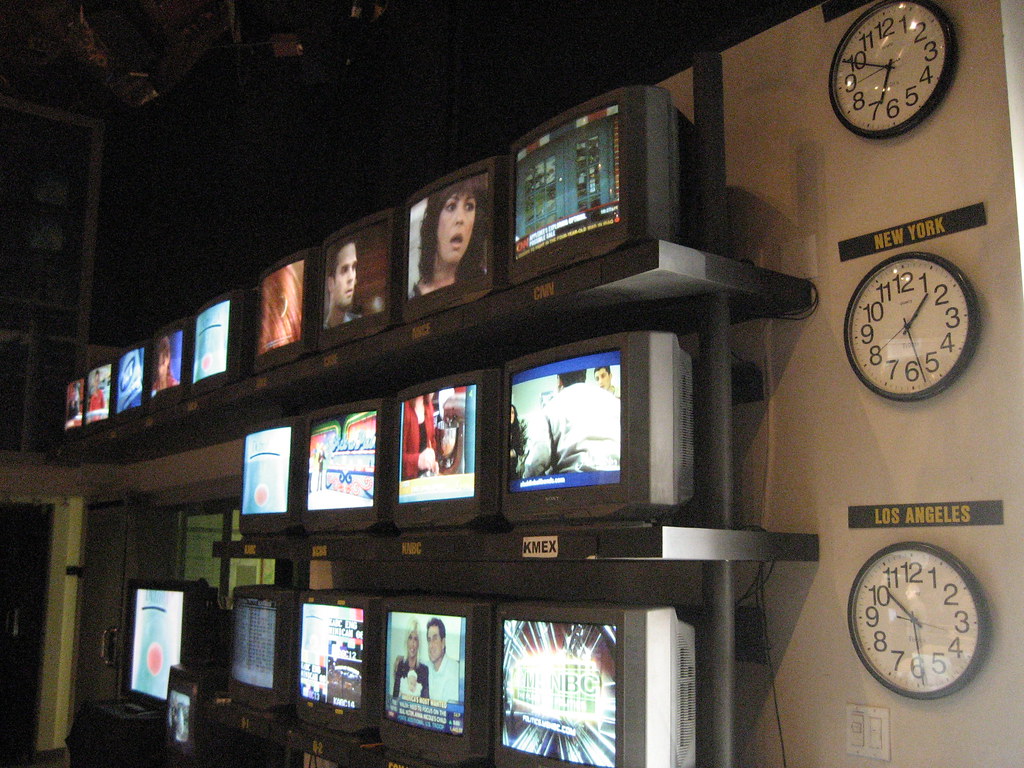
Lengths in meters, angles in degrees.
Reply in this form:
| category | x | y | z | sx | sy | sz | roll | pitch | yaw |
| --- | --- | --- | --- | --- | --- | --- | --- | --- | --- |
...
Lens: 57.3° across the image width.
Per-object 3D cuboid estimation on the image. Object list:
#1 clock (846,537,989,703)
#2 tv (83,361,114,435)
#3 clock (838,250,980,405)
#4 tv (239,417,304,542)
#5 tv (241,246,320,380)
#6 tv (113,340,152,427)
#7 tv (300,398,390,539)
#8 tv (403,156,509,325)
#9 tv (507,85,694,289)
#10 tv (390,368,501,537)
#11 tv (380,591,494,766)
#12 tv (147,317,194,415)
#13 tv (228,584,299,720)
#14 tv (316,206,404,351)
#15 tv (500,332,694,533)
| category | x | y | z | sx | sy | sz | roll | pitch | yaw |
| --- | --- | --- | --- | --- | --- | --- | --- | --- | --- |
| clock | 1.258 | 0.728 | 2.885 | 0.062 | 0.520 | 0.411 | 12 | -21 | -39 |
| tv | -2.576 | 0.105 | 5.896 | 0.037 | 0.390 | 0.371 | 9 | -16 | -39 |
| clock | 1.274 | -0.174 | 2.982 | 0.065 | 0.543 | 0.427 | 5 | -7 | -38 |
| tv | -1.030 | 0.415 | 4.284 | 0.235 | 0.473 | 0.430 | 10 | -15 | -43 |
| tv | -0.952 | -0.317 | 4.256 | 0.426 | 0.467 | 0.245 | -12 | -16 | 44 |
| tv | -2.140 | 0.003 | 5.522 | 0.387 | 0.428 | 0.209 | -12 | -16 | 41 |
| tv | -0.661 | 0.356 | 3.808 | 0.257 | 0.461 | 0.449 | 11 | -18 | -43 |
| tv | -0.154 | -0.497 | 3.546 | 0.537 | 0.540 | 0.306 | -13 | -20 | 43 |
| tv | 0.272 | -0.607 | 3.197 | 0.360 | 0.519 | 0.628 | 13 | -18 | -42 |
| tv | -0.199 | 0.260 | 3.529 | 0.487 | 0.521 | 0.294 | -10 | -17 | 38 |
| tv | -0.255 | 1.072 | 3.353 | 0.244 | 0.495 | 0.450 | 12 | -19 | -39 |
| tv | -1.764 | -0.080 | 5.074 | 0.399 | 0.438 | 0.228 | -14 | -17 | 40 |
| tv | -1.064 | 1.172 | 4.079 | 0.255 | 0.495 | 0.449 | 8 | -13 | -37 |
| tv | -0.575 | -0.392 | 3.918 | 0.480 | 0.504 | 0.283 | -14 | -21 | 37 |
| tv | 0.286 | 0.200 | 3.177 | 0.392 | 0.616 | 0.691 | 11 | -14 | -39 |
